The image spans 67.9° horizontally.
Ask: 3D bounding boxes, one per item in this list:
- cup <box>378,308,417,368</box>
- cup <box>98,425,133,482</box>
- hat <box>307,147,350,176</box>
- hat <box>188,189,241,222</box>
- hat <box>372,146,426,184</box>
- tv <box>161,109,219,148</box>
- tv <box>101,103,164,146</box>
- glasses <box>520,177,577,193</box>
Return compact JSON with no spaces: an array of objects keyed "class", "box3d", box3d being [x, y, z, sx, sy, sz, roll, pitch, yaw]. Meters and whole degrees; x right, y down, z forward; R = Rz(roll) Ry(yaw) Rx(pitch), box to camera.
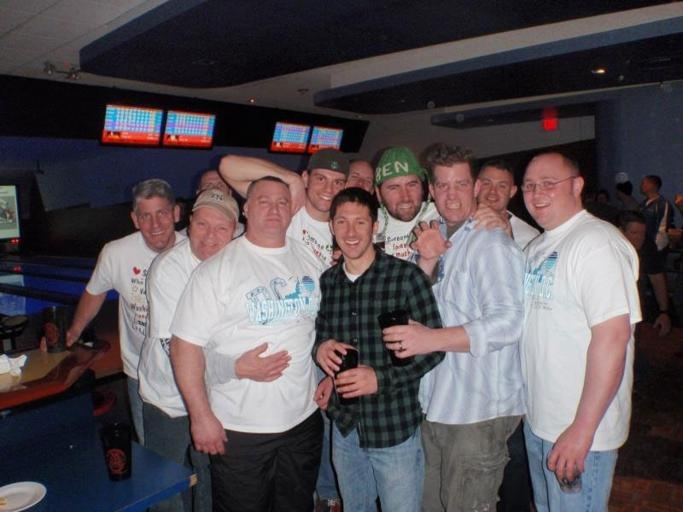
[{"class":"cup","box3d":[0.295,0.416,2.603,0.203,0.294,0.109,-5,10,-34]},{"class":"cup","box3d":[-1.134,0.949,2.558,0.136,0.296,0.194,-3,9,-24]},{"class":"hat","box3d":[-0.079,-0.629,3.448,0.187,0.118,0.236,5,1,-29]},{"class":"hat","box3d":[-0.766,-0.304,3.103,0.250,0.203,0.245,0,7,-5]},{"class":"hat","box3d":[0.391,-0.603,3.425,0.331,0.257,0.224,1,8,5]},{"class":"tv","box3d":[-2.361,-1.945,7.860,0.125,0.569,0.889,7,9,36]},{"class":"tv","box3d":[-3.007,-1.871,7.187,0.763,0.472,0.100,-2,19,-40]},{"class":"glasses","box3d":[1.105,-0.380,2.706,0.264,0.089,0.068,3,8,16]}]
